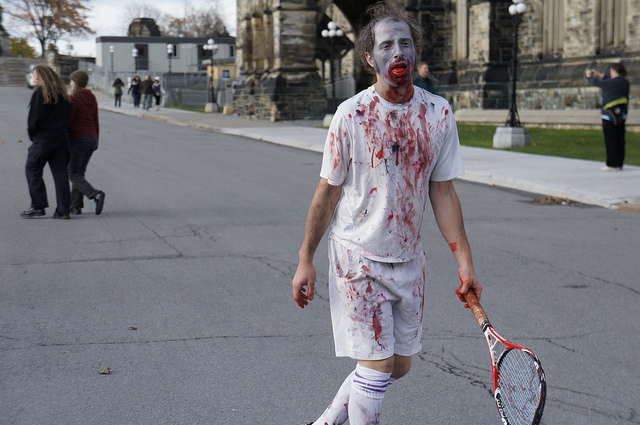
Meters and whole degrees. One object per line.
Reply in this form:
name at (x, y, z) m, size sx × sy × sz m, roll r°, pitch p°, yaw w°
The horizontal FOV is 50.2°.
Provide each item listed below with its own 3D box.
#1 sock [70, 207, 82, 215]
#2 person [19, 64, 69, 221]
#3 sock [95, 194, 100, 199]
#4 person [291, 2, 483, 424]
sock at (-4.413, -0.036, 12.247) m, size 0.183 × 0.123 × 0.115 m, roll -5°, pitch 14°, yaw -21°
person at (-4.642, -1.181, 11.577) m, size 0.779 × 2.602 × 0.565 m, roll -5°, pitch 13°, yaw -22°
sock at (-3.901, -0.283, 11.931) m, size 0.062 × 0.076 × 0.023 m, roll 3°, pitch 12°, yaw 10°
person at (0.450, 0.073, 4.929) m, size 1.273 × 3.025 × 0.646 m, roll -3°, pitch 12°, yaw -17°
